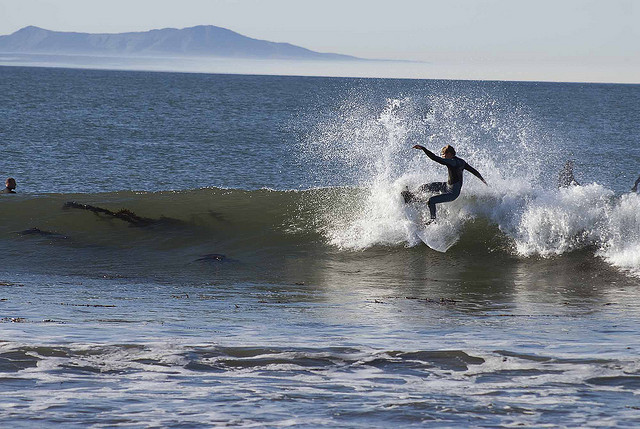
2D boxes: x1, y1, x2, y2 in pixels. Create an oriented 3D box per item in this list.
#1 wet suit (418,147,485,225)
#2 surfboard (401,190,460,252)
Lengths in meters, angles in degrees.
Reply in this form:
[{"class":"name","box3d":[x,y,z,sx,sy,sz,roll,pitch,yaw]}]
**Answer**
[{"class":"wet suit","box3d":[3.734,-0.757,32.097,1.647,2.304,1.237,-1,17,-13]},{"class":"surfboard","box3d":[3.118,0.162,33.149,1.256,2.282,0.467,-39,-16,-28]}]
